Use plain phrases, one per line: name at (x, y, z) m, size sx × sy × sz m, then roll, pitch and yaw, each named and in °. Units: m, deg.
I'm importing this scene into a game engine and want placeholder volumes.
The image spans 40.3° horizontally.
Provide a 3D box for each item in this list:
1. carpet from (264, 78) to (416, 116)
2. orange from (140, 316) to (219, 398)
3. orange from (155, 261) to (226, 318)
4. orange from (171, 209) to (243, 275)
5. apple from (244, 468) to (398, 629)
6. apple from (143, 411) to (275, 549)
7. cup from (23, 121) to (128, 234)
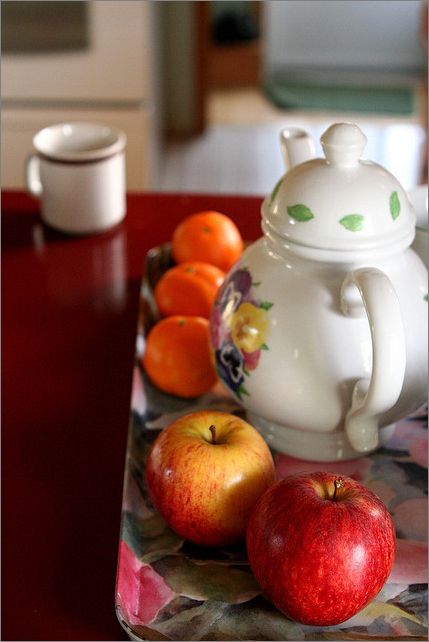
carpet at (0.490, -0.939, 2.551) m, size 0.520 × 0.178 × 0.067 m, roll 3°, pitch -9°, yaw 0°
orange at (-0.029, 0.030, 0.547) m, size 0.067 × 0.062 × 0.068 m, roll 1°, pitch 13°, yaw 32°
orange at (-0.026, -0.027, 0.552) m, size 0.057 × 0.050 × 0.058 m, roll 10°, pitch 25°, yaw 32°
orange at (-0.005, -0.083, 0.660) m, size 0.069 × 0.065 × 0.066 m, roll 13°, pitch 49°, yaw 8°
apple at (0.070, 0.112, 0.345) m, size 0.076 × 0.081 × 0.074 m, roll -5°, pitch 18°, yaw -27°
apple at (-0.005, 0.096, 0.395) m, size 0.081 × 0.073 × 0.076 m, roll 2°, pitch 16°, yaw -17°
cup at (-0.151, -0.184, 0.740) m, size 0.145 × 0.122 × 0.115 m, roll -2°, pitch 25°, yaw -8°
